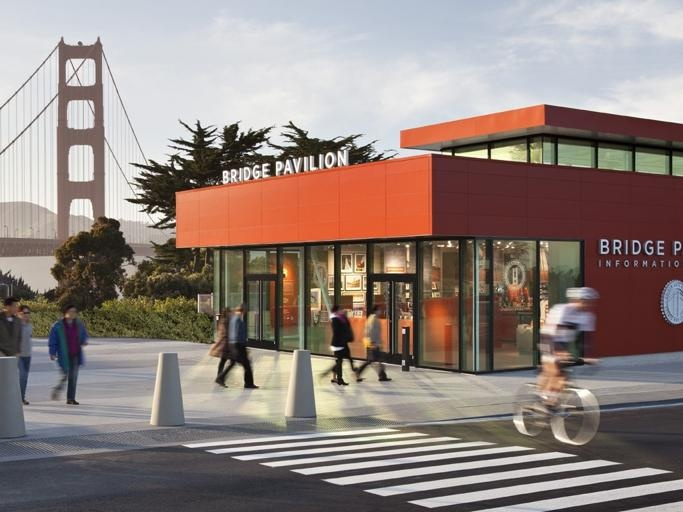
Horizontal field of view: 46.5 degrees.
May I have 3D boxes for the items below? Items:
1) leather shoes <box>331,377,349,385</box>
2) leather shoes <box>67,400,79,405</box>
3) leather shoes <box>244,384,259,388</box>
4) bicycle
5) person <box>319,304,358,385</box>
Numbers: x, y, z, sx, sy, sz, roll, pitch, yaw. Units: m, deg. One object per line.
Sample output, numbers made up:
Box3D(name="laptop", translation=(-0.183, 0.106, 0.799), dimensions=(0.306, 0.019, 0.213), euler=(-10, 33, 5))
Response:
Box3D(name="leather shoes", translation=(-0.076, 2.845, 18.034), dimensions=(0.450, 0.185, 0.140), euler=(-3, -5, 21))
Box3D(name="leather shoes", translation=(-5.229, 2.847, 15.504), dimensions=(0.252, 0.095, 0.083), euler=(1, -1, -7))
Box3D(name="leather shoes", translation=(-1.989, 2.867, 17.535), dimensions=(0.313, 0.117, 0.102), euler=(1, -3, -11))
Box3D(name="bicycle", translation=(3.304, 2.224, 12.266), dimensions=(0.478, 1.211, 1.449), euler=(1, -3, -34))
Box3D(name="person", translation=(-0.047, 2.020, 18.249), dimensions=(0.708, 1.783, 1.297), euler=(-1, -3, 1))
